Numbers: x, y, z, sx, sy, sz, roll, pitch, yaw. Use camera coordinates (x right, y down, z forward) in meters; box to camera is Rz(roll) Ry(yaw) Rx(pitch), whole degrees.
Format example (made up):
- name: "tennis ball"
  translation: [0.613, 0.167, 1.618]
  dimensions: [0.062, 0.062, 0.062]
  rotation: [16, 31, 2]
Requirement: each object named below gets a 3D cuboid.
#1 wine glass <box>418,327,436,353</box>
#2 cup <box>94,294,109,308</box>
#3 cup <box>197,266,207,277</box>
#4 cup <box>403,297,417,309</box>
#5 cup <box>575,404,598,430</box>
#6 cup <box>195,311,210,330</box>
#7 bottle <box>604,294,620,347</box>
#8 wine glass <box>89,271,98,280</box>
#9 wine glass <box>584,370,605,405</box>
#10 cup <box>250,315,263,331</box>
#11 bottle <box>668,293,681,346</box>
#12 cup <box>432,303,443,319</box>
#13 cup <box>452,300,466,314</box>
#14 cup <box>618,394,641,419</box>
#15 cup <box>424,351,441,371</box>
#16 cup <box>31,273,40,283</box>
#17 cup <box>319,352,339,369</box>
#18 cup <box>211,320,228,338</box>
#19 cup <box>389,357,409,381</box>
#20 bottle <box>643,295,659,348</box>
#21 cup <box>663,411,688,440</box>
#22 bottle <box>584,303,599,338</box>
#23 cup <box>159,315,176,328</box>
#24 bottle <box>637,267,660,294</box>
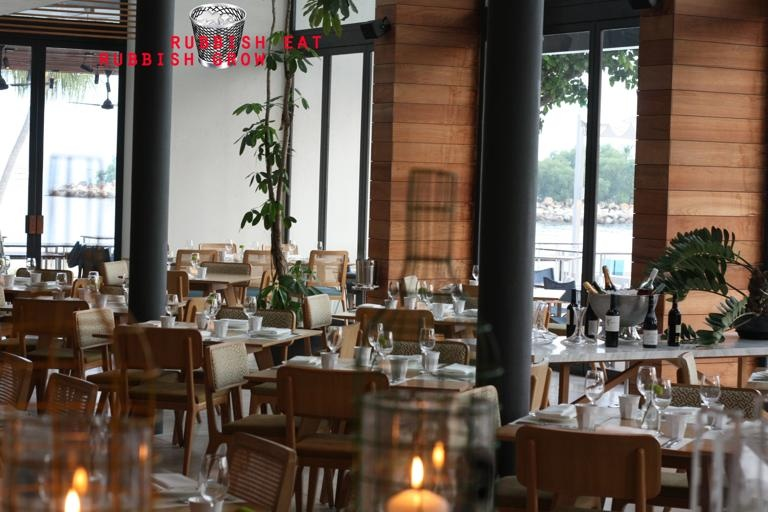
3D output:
- name: "wine glass"
  translation: [0.232, 0.450, 3.549]
  dimensions: [0.075, 0.126, 0.157]
  rotation: [0, 1, 2]
- name: "cup"
  translation: [-2.164, 0.346, 5.126]
  dimensions: [0.112, 0.119, 0.107]
  rotation: [3, 1, 0]
- name: "cup"
  translation: [-1.942, 0.170, 7.124]
  dimensions: [0.106, 0.140, 0.103]
  rotation: [2, 6, 0]
- name: "cup"
  translation: [0.235, 0.418, 5.850]
  dimensions: [0.094, 0.074, 0.090]
  rotation: [0, -8, 0]
- name: "cup"
  translation: [0.794, 0.626, 2.579]
  dimensions: [0.089, 0.078, 0.077]
  rotation: [-4, -6, 26]
- name: "cup"
  translation: [-1.213, 0.438, 4.480]
  dimensions: [0.109, 0.115, 0.103]
  rotation: [2, -2, 0]
- name: "bottle"
  translation: [1.374, 0.383, 3.976]
  dimensions: [0.080, 0.309, 0.186]
  rotation: [0, 0, 21]
- name: "wine glass"
  translation: [-2.482, 0.174, 5.663]
  dimensions: [0.058, 0.063, 0.073]
  rotation: [3, 8, 9]
- name: "wine glass"
  translation: [0.894, 0.556, 2.808]
  dimensions: [0.082, 0.173, 0.298]
  rotation: [0, 1, 18]
- name: "cup"
  translation: [-0.849, 0.453, 4.456]
  dimensions: [0.086, 0.086, 0.086]
  rotation: [-1, -1, 0]
- name: "bottle"
  translation: [1.789, 0.397, 4.082]
  dimensions: [0.069, 0.311, 0.266]
  rotation: [0, 1, 23]
- name: "cup"
  translation: [0.449, 0.457, 5.474]
  dimensions: [0.095, 0.113, 0.112]
  rotation: [2, -20, -1]
- name: "cup"
  translation: [0.665, 0.450, 5.761]
  dimensions: [0.101, 0.105, 0.102]
  rotation: [1, -9, 0]
- name: "cup"
  translation: [1.064, 0.658, 2.920]
  dimensions: [0.101, 0.107, 0.102]
  rotation: [-2, -8, 0]
- name: "cup"
  translation: [0.271, 0.564, 3.557]
  dimensions: [0.095, 0.102, 0.096]
  rotation: [1, -9, 0]
- name: "cup"
  translation: [-3.385, 0.216, 6.449]
  dimensions: [0.112, 0.086, 0.100]
  rotation: [1, -5, -8]
- name: "cup"
  translation: [-0.286, 0.549, 3.512]
  dimensions: [0.084, 0.068, 0.085]
  rotation: [-4, -1, 0]
- name: "cup"
  translation: [-1.047, 0.468, 4.251]
  dimensions: [0.103, 0.105, 0.102]
  rotation: [3, 3, 0]
- name: "cup"
  translation: [0.085, 0.582, 3.428]
  dimensions: [0.102, 0.105, 0.097]
  rotation: [-1, -6, 0]
- name: "bottle"
  translation: [1.605, 0.385, 3.984]
  dimensions: [0.073, 0.310, 0.198]
  rotation: [0, 1, 23]
- name: "cup"
  translation: [1.131, 0.664, 2.613]
  dimensions: [0.104, 0.095, 0.106]
  rotation: [0, -5, 0]
- name: "bottle"
  translation: [1.311, 0.406, 4.181]
  dimensions: [0.081, 0.219, 0.234]
  rotation: [0, 1, 16]
- name: "cup"
  translation: [-1.396, 0.413, 4.263]
  dimensions: [0.105, 0.080, 0.098]
  rotation: [-1, -5, 0]
- name: "bottle"
  translation: [1.811, 0.171, 4.527]
  dimensions: [0.062, 0.216, 0.031]
  rotation: [19, -10, 34]
